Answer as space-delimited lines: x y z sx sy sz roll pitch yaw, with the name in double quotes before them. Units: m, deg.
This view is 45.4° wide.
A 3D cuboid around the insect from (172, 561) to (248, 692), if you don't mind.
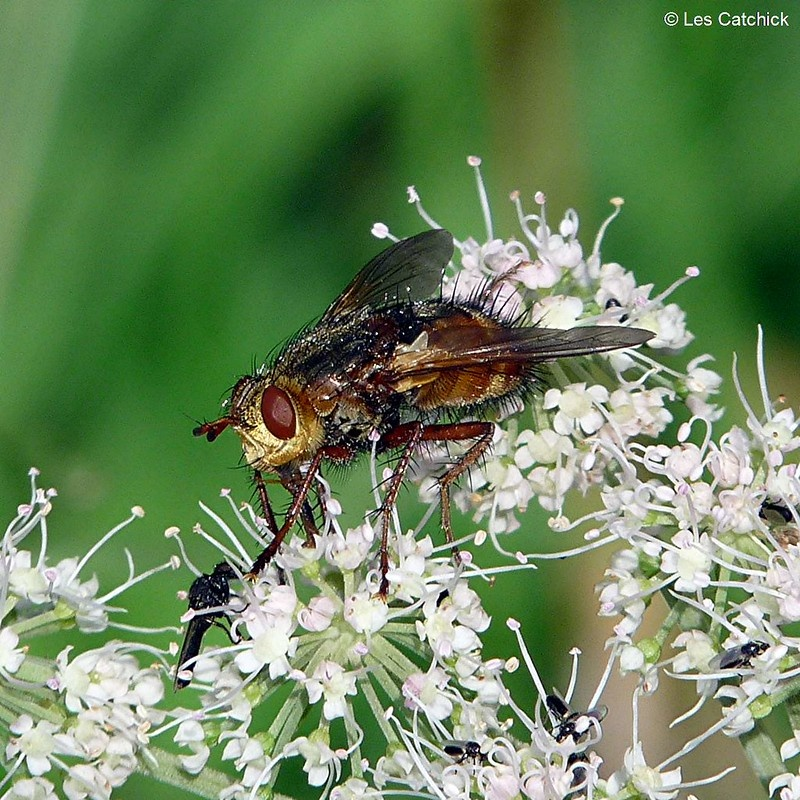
"insect" -0.433 0.505 2.180 0.182 0.087 0.290 7 88 56
